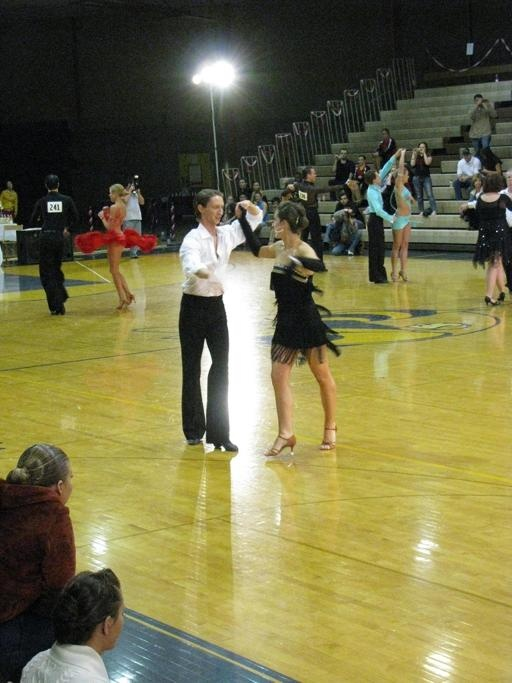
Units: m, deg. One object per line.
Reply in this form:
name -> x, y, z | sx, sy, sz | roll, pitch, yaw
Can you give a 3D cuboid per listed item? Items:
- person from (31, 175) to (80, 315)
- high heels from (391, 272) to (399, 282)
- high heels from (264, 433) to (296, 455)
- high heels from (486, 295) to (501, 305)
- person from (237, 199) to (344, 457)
person -> -3.860, -1.812, 10.677 | 0.781, 2.627, 1.032 | -5, 4, -20
high heels -> 3.207, -1.462, 12.684 | 0.127, 0.188, 0.368 | -1, 5, 28
high heels -> 0.203, 0.800, 4.319 | 0.314, 0.166, 0.106 | -8, 0, -18
high heels -> 4.121, -0.712, 9.678 | 0.124, 0.196, 0.364 | 9, 12, 38
person -> 0.273, -0.101, 4.265 | 0.694, 1.939, 0.565 | -3, 4, 8
